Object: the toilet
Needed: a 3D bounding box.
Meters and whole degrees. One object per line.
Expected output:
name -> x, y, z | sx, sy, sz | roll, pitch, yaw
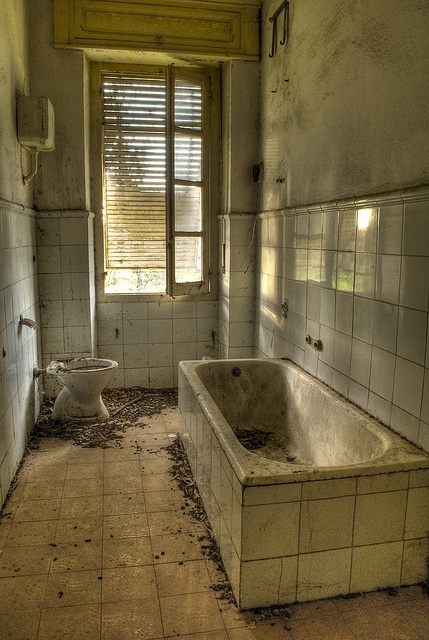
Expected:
toilet -> -0.831, 0.449, 3.004 | 0.370, 0.376, 0.391 | 2, 9, -4
